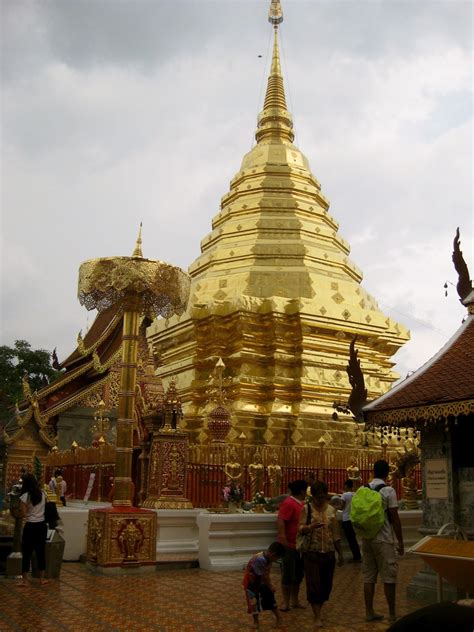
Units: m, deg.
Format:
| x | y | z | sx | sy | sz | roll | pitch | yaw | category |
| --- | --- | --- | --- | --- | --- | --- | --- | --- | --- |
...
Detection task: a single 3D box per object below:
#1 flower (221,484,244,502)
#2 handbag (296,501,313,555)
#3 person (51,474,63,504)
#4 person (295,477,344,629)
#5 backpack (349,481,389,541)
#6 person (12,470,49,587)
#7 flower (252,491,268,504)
| x | y | z | sx | sy | sz | roll | pitch | yaw | category |
| --- | --- | --- | --- | --- | --- | --- | --- | --- | --- |
| -0.034 | 2.328 | 9.066 | 0.267 | 0.256 | 0.226 | -2 | 0 | 7 | flower |
| 0.525 | 1.631 | 5.267 | 0.122 | 0.287 | 0.218 | 8 | -28 | 10 | handbag |
| -3.277 | 3.142 | 12.402 | 0.231 | 0.514 | 0.956 | 3 | -16 | -13 | person |
| 0.671 | 1.880 | 5.531 | 0.314 | 1.031 | 0.864 | -3 | -16 | 7 | person |
| 1.014 | 1.530 | 5.294 | 0.264 | 0.383 | 0.229 | -3 | -17 | 9 | backpack |
| -2.031 | 2.112 | 6.837 | 0.294 | 1.042 | 0.292 | 7 | -18 | -22 | person |
| 0.322 | 2.500 | 9.328 | 0.186 | 0.165 | 0.172 | -4 | 27 | -26 | flower |
